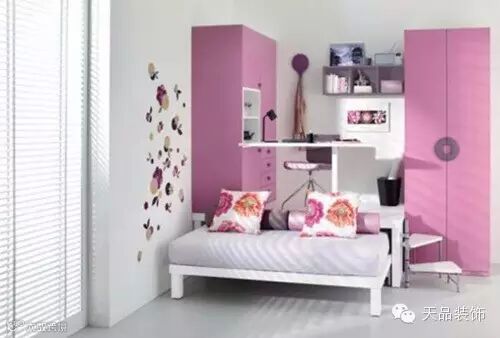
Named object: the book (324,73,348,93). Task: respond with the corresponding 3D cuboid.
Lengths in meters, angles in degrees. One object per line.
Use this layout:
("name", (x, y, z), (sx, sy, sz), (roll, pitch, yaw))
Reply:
("book", (1.294, -1.274, 6.078), (0.270, 0.342, 0.352), (1, 5, 17))

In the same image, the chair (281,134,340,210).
("chair", (0.816, 0.001, 5.093), (0.493, 0.706, 0.969), (-2, 6, 0))

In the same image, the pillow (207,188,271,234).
("pillow", (-0.107, 0.488, 4.672), (0.562, 0.531, 0.174), (4, -20, 27))

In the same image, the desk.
("desk", (0.817, 0.016, 5.498), (1.667, 0.856, 2.085), (1, 7, 18))

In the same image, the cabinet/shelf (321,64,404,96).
("cabinet/shelf", (1.740, -1.329, 6.191), (1.203, 0.458, 0.310), (2, 5, 11))

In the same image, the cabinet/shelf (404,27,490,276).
("cabinet/shelf", (2.581, -0.349, 5.186), (1.058, 3.193, 0.418), (4, 30, 31))

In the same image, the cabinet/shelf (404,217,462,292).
("cabinet/shelf", (2.177, 0.969, 4.825), (0.620, 0.775, 0.697), (3, 8, 27))
